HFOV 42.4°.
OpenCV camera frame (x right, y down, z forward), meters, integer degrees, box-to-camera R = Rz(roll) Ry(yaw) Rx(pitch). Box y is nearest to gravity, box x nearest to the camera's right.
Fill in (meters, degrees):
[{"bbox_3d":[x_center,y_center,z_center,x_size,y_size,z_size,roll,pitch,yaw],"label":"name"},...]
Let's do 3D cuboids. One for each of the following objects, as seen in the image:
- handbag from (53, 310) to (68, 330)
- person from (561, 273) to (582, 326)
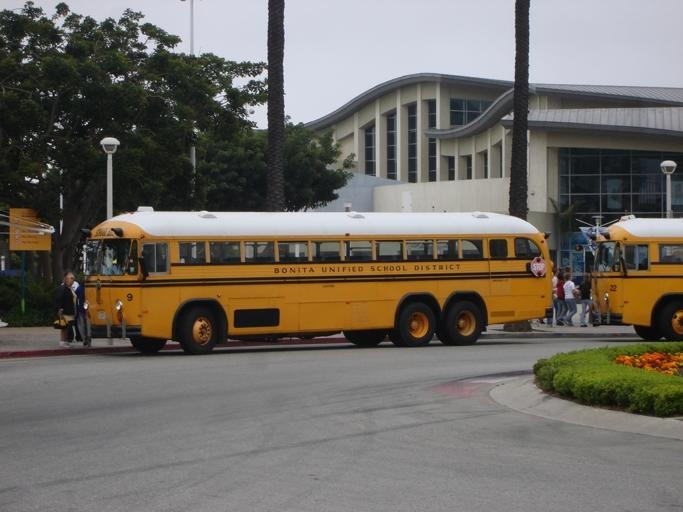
[{"bbox_3d":[-7.795,1.777,24.192,0.393,0.535,0.283,1,1,16],"label":"handbag"},{"bbox_3d":[8.813,1.682,33.695,0.485,1.957,1.071,1,1,15],"label":"person"}]
